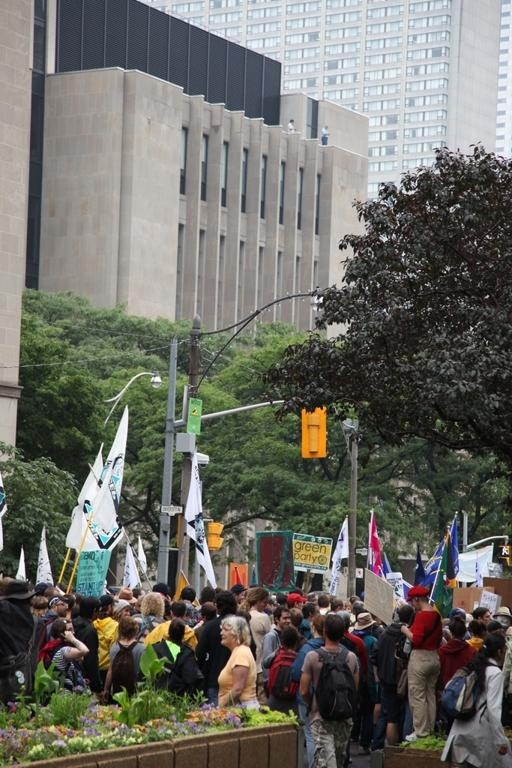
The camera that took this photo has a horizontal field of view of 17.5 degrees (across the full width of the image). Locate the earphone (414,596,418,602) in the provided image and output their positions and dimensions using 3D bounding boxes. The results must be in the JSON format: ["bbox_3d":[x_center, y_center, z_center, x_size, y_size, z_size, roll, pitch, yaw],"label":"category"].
[{"bbox_3d":[1.632,2.216,17.085,0.027,0.054,0.027,9,17,24],"label":"earphone"}]

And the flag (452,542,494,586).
[{"bbox_3d":[4.255,3.673,33.046,1.120,0.683,0.887,-3,0,28],"label":"flag"}]

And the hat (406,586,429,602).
[{"bbox_3d":[1.629,2.174,17.113,0.243,0.169,0.198,2,5,20],"label":"hat"}]

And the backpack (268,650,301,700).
[{"bbox_3d":[0.277,2.810,15.968,0.394,0.605,0.295,0,-13,14],"label":"backpack"}]

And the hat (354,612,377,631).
[{"bbox_3d":[1.204,2.723,18.850,0.183,0.112,0.171,-21,5,32],"label":"hat"}]

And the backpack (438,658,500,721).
[{"bbox_3d":[1.835,2.742,14.801,0.494,0.573,0.396,12,-20,-5],"label":"backpack"}]
